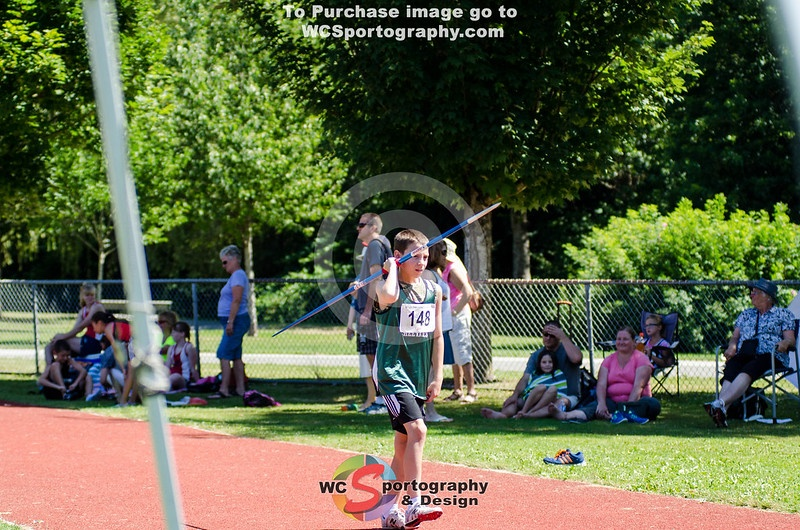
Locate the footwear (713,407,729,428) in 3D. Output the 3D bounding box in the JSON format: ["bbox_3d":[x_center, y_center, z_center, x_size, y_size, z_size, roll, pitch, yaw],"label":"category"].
[{"bbox_3d":[6.116,2.909,22.995,0.173,0.497,0.220,-13,17,15],"label":"footwear"}]

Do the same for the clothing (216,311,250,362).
[{"bbox_3d":[-3.575,1.539,25.776,0.679,1.009,0.392,1,-1,-14],"label":"clothing"}]

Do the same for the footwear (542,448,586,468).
[{"bbox_3d":[2.831,3.350,20.823,0.707,0.291,0.279,3,-10,0],"label":"footwear"}]

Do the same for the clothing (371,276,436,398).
[{"bbox_3d":[0.200,1.389,19.437,0.878,2.556,0.621,7,-14,-17],"label":"clothing"}]

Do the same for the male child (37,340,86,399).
[{"bbox_3d":[-7.259,2.264,26.007,0.904,1.268,0.738,-1,-2,42],"label":"male child"}]

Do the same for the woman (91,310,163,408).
[{"bbox_3d":[-5.977,1.956,25.348,0.819,1.918,1.785,1,-1,-19],"label":"woman"}]

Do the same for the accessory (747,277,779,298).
[{"bbox_3d":[7.370,0.463,24.048,0.524,0.193,0.384,28,-9,-18],"label":"accessory"}]

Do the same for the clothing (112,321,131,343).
[{"bbox_3d":[-5.923,1.414,25.631,0.342,0.424,0.439,-7,-23,-35],"label":"clothing"}]

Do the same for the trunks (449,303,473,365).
[{"bbox_3d":[1.240,1.374,25.233,0.519,1.356,0.618,-1,6,-19],"label":"trunks"}]

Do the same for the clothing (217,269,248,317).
[{"bbox_3d":[-3.632,0.609,26.061,0.635,1.068,1.086,0,-5,-14],"label":"clothing"}]

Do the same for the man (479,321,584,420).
[{"bbox_3d":[2.683,2.111,23.939,2.158,2.030,1.398,1,-3,-31],"label":"man"}]

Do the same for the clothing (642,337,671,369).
[{"bbox_3d":[5.330,1.808,25.001,0.645,0.675,0.286,6,-3,33],"label":"clothing"}]

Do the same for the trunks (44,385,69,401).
[{"bbox_3d":[-7.415,2.749,25.838,0.642,0.289,0.195,0,-1,20],"label":"trunks"}]

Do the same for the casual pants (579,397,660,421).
[{"bbox_3d":[4.329,2.825,23.725,1.518,0.449,0.497,0,-1,6],"label":"casual pants"}]

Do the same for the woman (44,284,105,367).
[{"bbox_3d":[-7.237,1.543,26.661,1.274,2.247,0.772,4,-2,-22],"label":"woman"}]

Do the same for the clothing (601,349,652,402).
[{"bbox_3d":[4.498,2.207,24.078,0.993,1.005,0.597,-2,3,30],"label":"clothing"}]

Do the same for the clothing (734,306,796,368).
[{"bbox_3d":[7.205,1.467,23.700,0.992,0.997,0.588,-3,-24,42],"label":"clothing"}]

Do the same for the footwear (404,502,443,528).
[{"bbox_3d":[0.439,3.954,19.016,0.727,0.363,0.273,-20,-33,23],"label":"footwear"}]
